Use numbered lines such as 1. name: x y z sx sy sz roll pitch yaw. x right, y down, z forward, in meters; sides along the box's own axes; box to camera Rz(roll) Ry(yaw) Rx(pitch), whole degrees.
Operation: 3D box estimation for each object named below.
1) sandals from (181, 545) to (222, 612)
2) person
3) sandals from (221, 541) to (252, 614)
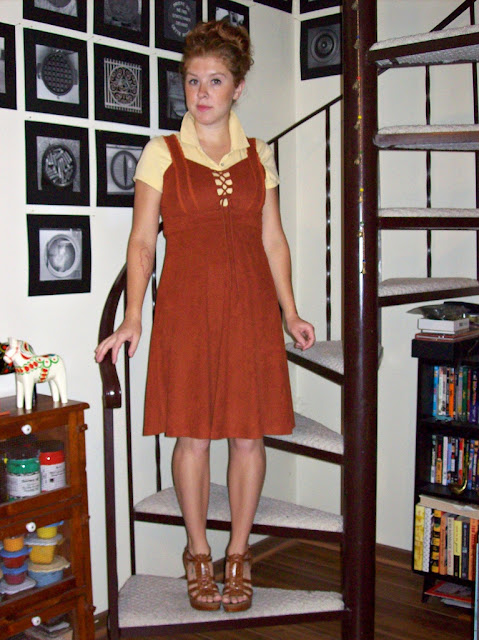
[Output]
1. sandals: -0.092 0.662 1.454 0.058 0.082 0.177 -2 7 -7
2. person: -0.076 -0.010 1.494 0.600 1.523 0.287 -2 3 -17
3. sandals: -0.007 0.666 1.453 0.071 0.135 0.120 -1 3 -1
